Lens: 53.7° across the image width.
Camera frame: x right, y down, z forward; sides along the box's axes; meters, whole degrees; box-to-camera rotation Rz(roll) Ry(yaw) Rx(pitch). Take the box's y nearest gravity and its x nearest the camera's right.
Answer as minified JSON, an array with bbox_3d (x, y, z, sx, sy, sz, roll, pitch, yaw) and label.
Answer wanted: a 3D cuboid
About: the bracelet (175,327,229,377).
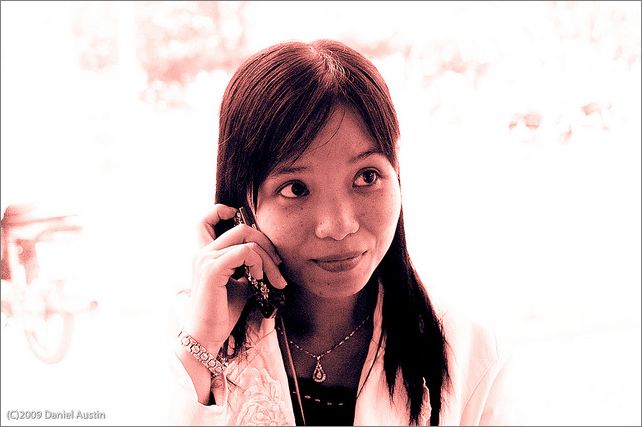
[{"bbox_3d":[-0.423,0.486,2.205,0.197,0.057,0.186,53,-17,-11],"label":"bracelet"}]

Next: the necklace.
[{"bbox_3d":[0.007,0.515,2.388,0.286,0.251,0.251,0,7,3],"label":"necklace"}]
